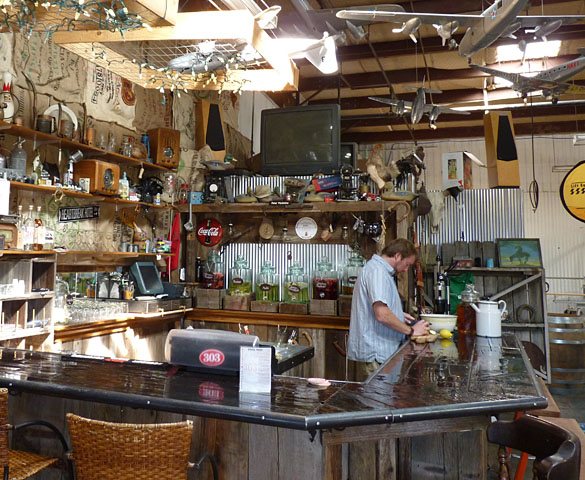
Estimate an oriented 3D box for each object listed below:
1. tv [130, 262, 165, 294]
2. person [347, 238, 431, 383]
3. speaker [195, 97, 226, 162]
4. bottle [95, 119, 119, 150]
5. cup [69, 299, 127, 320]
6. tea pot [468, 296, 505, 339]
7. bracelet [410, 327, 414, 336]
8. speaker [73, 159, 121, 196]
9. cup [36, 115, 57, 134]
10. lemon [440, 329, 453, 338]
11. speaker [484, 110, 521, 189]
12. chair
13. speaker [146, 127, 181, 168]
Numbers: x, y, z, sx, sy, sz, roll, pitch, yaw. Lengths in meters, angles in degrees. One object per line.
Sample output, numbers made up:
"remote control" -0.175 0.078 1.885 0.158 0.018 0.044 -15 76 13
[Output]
"tv" -1.595 0.434 5.647 0.235 0.364 0.411 -1 -3 22
"person" 0.781 0.653 4.217 0.647 1.323 1.628 0 -2 7
"speaker" -1.115 -1.524 7.053 0.369 0.861 0.205 2 -13 -29
"bottle" -2.010 -1.131 5.555 0.121 0.334 0.352 0 -3 20
"cup" -1.909 0.698 5.014 0.590 0.168 0.360 2 -3 -27
"tea pot" 1.630 0.649 4.240 0.277 0.275 0.212 -2 -2 38
"bracelet" 0.959 0.738 4.076 0.015 0.057 0.056 8 3 -14
"speaker" -1.947 -0.606 5.073 0.245 0.327 0.446 1 0 10
"cup" -2.236 -1.050 4.633 0.172 0.188 0.171 1 11 0
"lemon" 1.280 0.777 4.233 0.085 0.065 0.065 0 -21 44
"speaker" 2.832 -1.237 6.877 0.400 1.137 0.482 0 -3 17
"chair" -0.918 1.011 2.646 0.642 0.441 0.350 3 2 19
"speaker" -1.560 -1.100 6.106 0.402 0.448 0.403 3 0 4
